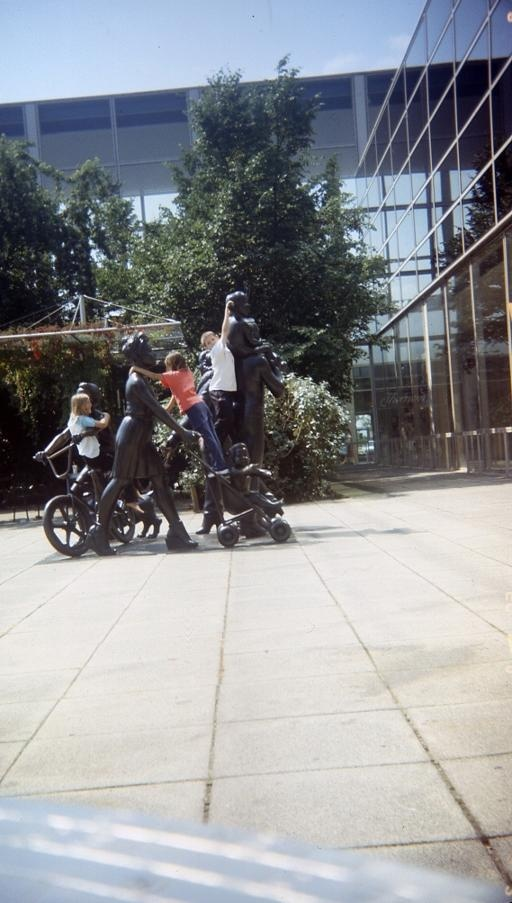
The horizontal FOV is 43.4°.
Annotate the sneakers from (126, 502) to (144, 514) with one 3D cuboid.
[{"bbox_3d":[-1.529,0.726,8.154,0.073,0.203,0.120,-39,-11,-18],"label":"sneakers"}]
